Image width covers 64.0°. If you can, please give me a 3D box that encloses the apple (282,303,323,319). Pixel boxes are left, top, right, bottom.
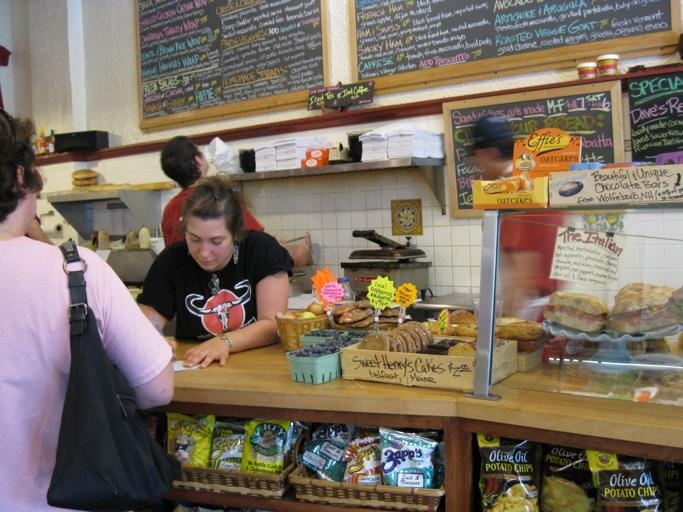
[{"bbox_3d":[-0.185,0.256,2.565,0.159,0.059,0.162,-2,-5,-19],"label":"apple"}]

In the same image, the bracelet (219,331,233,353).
[{"bbox_3d":[-0.485,0.368,2.371,0.081,0.071,0.051,-8,12,15],"label":"bracelet"}]

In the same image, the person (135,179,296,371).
[{"bbox_3d":[-0.576,0.059,2.560,0.737,0.755,0.875,1,10,7],"label":"person"}]

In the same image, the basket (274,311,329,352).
[{"bbox_3d":[-0.171,0.307,2.297,0.202,0.105,0.177,-1,0,-5],"label":"basket"}]

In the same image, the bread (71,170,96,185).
[{"bbox_3d":[-2.378,-0.734,5.062,0.181,0.105,0.168,-1,1,-20],"label":"bread"}]

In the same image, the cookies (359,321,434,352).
[{"bbox_3d":[0.207,0.295,1.937,0.273,0.074,0.167,-9,9,-40],"label":"cookies"}]
